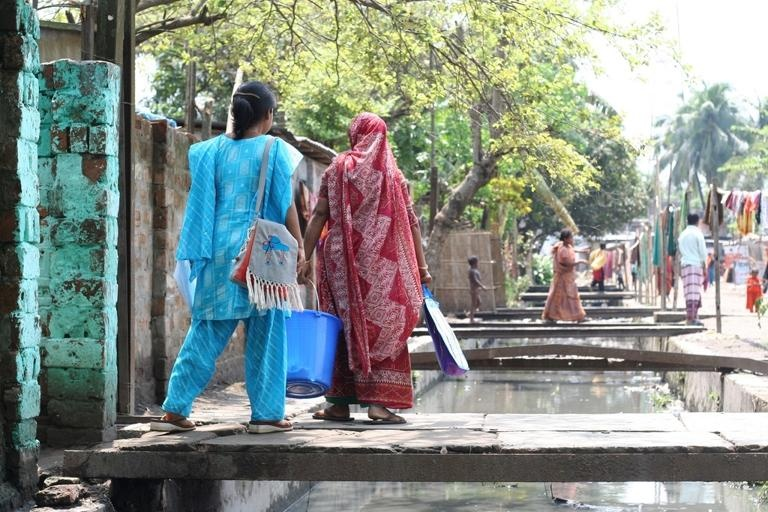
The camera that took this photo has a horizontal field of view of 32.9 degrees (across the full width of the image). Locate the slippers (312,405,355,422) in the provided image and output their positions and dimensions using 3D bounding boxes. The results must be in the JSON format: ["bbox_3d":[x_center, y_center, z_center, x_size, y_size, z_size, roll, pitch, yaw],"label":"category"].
[{"bbox_3d":[-0.522,1.645,13.519,0.374,0.256,0.165,2,-7,10],"label":"slippers"}]

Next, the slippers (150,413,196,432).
[{"bbox_3d":[-2.075,1.664,12.866,0.353,0.140,0.186,1,-1,-2],"label":"slippers"}]

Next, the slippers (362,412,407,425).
[{"bbox_3d":[0.029,1.647,13.238,0.344,0.103,0.145,-2,-5,3],"label":"slippers"}]

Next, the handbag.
[{"bbox_3d":[-1.207,0.051,12.704,0.575,0.665,0.435,28,-21,-30],"label":"handbag"}]

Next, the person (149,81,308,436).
[{"bbox_3d":[-1.454,0.002,12.893,1.289,3.430,0.789,1,-13,-5],"label":"person"}]

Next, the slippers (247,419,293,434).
[{"bbox_3d":[-1.124,1.677,12.868,0.390,0.167,0.156,-1,-2,-15],"label":"slippers"}]

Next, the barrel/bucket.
[{"bbox_3d":[-0.768,0.990,13.283,0.749,1.160,0.742,4,-16,1],"label":"barrel/bucket"}]
